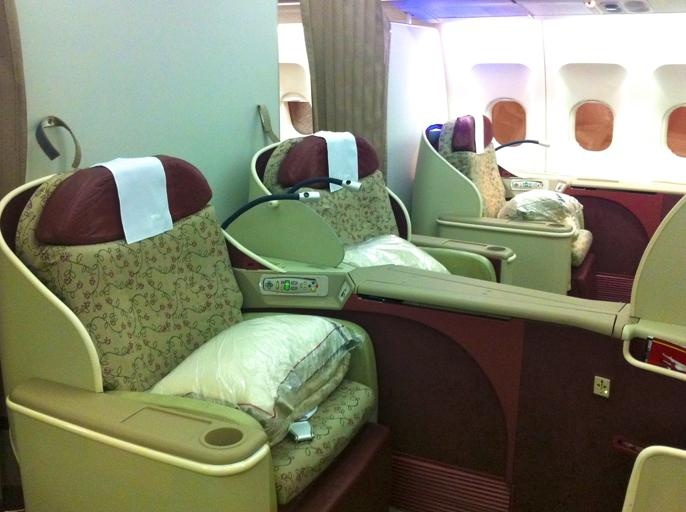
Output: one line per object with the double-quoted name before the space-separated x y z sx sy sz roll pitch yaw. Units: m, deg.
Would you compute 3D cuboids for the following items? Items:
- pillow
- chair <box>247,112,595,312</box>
"pillow" -0.168 0.259 1.640 0.280 0.144 0.432 13 16 19
"chair" 0.395 -0.321 2.962 1.444 1.019 0.856 8 19 29
